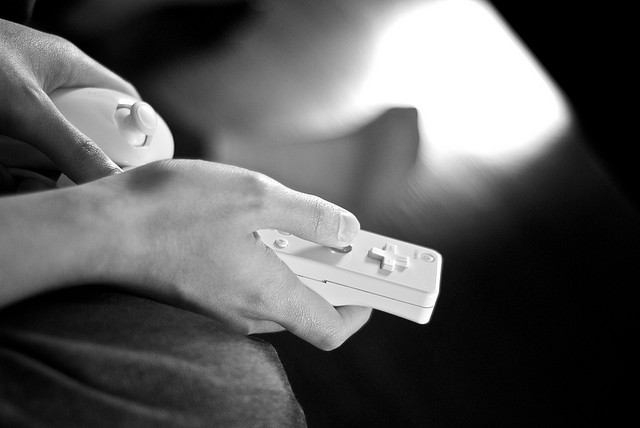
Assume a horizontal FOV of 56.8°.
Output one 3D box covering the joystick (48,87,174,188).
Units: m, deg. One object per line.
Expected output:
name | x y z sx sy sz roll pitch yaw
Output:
joystick | -0.290 -0.107 0.842 0.172 0.075 0.137 -2 74 -24
